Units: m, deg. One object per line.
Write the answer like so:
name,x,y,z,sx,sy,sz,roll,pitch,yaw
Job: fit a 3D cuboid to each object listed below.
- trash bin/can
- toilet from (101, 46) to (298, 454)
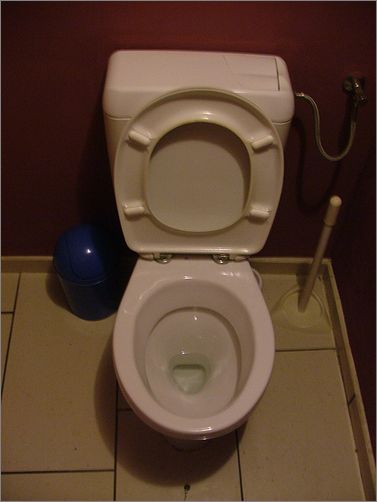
trash bin/can,-0.303,0.042,1.395,0.170,0.318,0.227,14,53,3
toilet,0.006,0.101,1.070,0.317,0.866,0.765,-1,34,1
